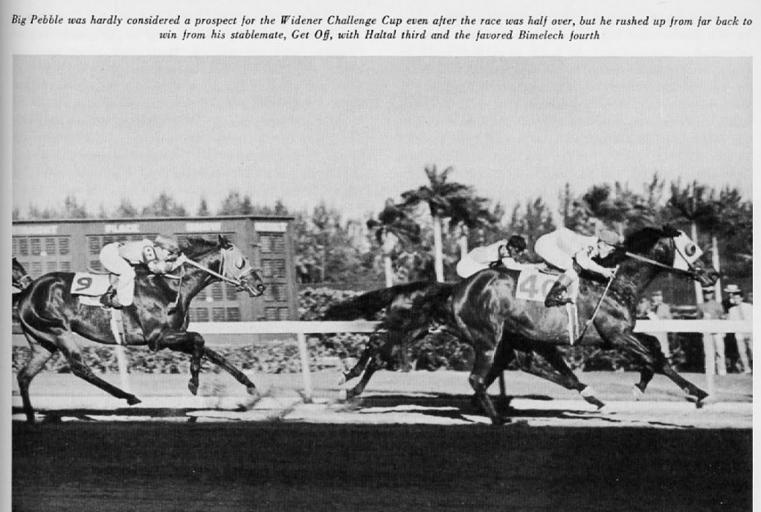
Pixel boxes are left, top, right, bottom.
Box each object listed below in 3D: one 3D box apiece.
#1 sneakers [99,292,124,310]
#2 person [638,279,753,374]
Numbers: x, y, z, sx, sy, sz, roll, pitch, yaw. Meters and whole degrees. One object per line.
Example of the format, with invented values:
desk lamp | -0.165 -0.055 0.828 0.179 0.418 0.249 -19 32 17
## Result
sneakers | -2.347 0.377 11.457 0.163 0.137 0.066 6 2 -7
person | 2.887 0.548 11.115 0.771 0.875 0.228 -3 4 6
